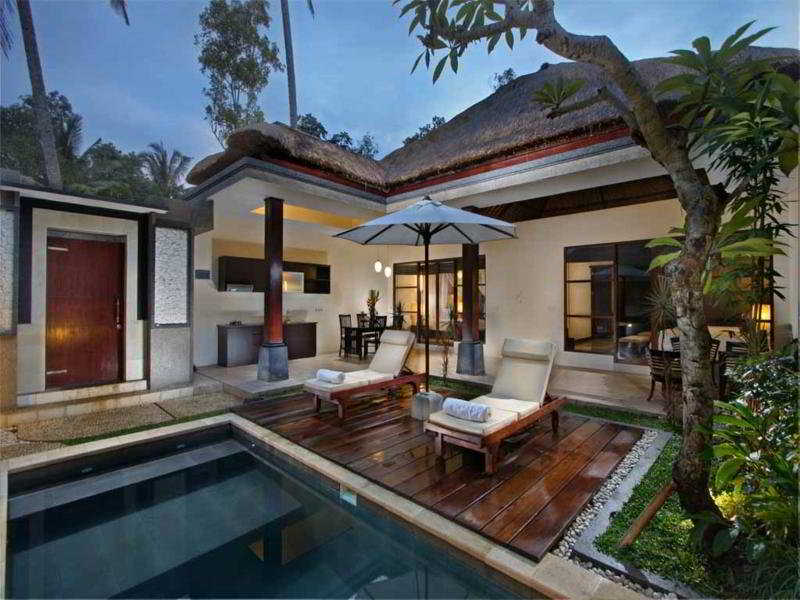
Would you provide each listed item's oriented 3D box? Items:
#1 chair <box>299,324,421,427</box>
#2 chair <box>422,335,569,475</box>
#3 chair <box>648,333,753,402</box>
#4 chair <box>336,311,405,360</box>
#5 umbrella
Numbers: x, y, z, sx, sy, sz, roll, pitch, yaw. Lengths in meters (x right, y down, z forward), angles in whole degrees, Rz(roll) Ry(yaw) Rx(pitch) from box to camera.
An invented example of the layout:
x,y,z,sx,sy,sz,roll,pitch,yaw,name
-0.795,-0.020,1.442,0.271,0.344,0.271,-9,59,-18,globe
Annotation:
x,y,z,sx,sy,sz,roll,pitch,yaw,name
-0.502,1.039,7.626,0.679,1.063,1.790,1,3,42,chair
1.193,1.169,6.290,0.751,1.213,1.930,3,7,41,chair
4.211,0.997,7.419,1.226,0.946,1.752,0,0,29,chair
-0.970,0.832,12.197,1.061,0.718,1.050,-1,2,-33,chair
0.495,-0.156,7.708,2.709,2.671,2.658,0,-1,-19,umbrella
